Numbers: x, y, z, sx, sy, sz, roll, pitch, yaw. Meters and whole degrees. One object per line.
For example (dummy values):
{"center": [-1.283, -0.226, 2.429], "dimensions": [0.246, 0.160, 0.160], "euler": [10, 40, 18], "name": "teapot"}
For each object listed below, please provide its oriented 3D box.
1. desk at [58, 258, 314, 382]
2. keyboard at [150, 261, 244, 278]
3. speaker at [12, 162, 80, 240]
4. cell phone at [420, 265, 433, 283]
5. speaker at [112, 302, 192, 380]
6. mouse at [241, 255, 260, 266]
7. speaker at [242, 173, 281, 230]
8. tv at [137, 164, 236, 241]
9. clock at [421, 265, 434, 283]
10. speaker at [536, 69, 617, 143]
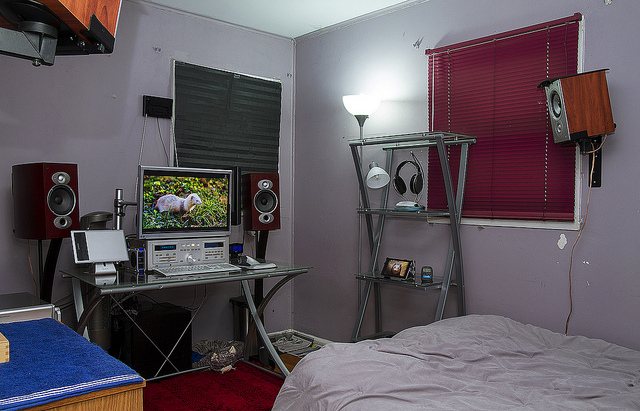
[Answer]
{"center": [-1.088, 0.941, 3.501], "dimensions": [1.771, 1.044, 1.185], "euler": [-3, 4, -31], "name": "desk"}
{"center": [-0.918, 0.468, 3.201], "dimensions": [0.647, 0.068, 0.284], "euler": [-2, 4, -30], "name": "keyboard"}
{"center": [-2.063, -0.028, 3.103], "dimensions": [0.550, 0.552, 0.190], "euler": [-1, 4, 3], "name": "speaker"}
{"center": [0.829, 0.562, 3.411], "dimensions": [0.113, 0.167, 0.110], "euler": [0, -4, 3], "name": "cell phone"}
{"center": [-1.363, 1.066, 3.355], "dimensions": [0.386, 0.489, 0.715], "euler": [3, -4, 40], "name": "speaker"}
{"center": [-0.592, 0.447, 3.480], "dimensions": [0.109, 0.024, 0.063], "euler": [9, 6, 27], "name": "mouse"}
{"center": [-0.595, -0.040, 4.020], "dimensions": [0.400, 0.527, 0.394], "euler": [-1, 3, 24], "name": "speaker"}
{"center": [-1.107, -0.012, 3.407], "dimensions": [0.673, 0.462, 0.067], "euler": [0, -2, -37], "name": "tv"}
{"center": [0.840, 0.553, 3.417], "dimensions": [0.122, 0.180, 0.118], "euler": [1, -3, 0], "name": "clock"}
{"center": [1.735, -0.685, 2.944], "dimensions": [0.488, 0.462, 0.285], "euler": [-15, 9, -8], "name": "speaker"}
